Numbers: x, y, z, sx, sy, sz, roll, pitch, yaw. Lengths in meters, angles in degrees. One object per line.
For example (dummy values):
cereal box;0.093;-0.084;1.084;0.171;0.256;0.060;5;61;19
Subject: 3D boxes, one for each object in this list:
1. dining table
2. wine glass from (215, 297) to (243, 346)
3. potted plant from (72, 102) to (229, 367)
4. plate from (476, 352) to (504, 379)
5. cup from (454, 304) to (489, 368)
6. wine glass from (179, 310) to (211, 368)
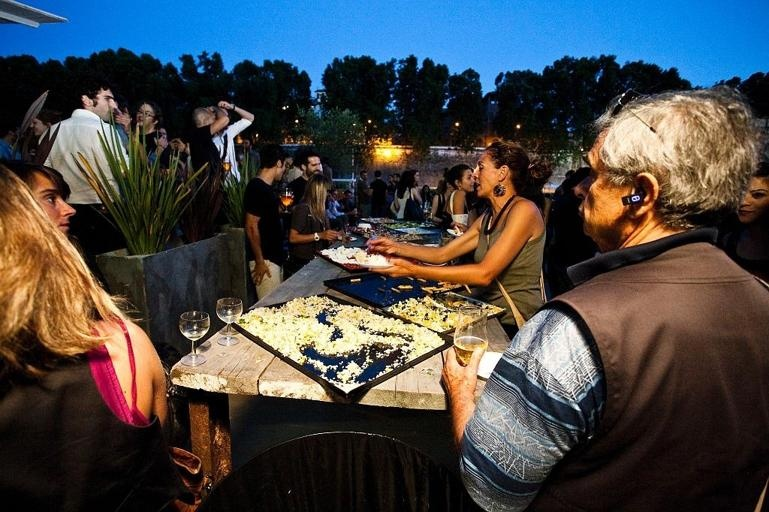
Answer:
dining table;-0.319;0.521;2.679;1.167;0.706;1.173;3;26;0
wine glass;-0.789;0.323;2.540;0.173;0.244;0.173;1;14;-20
potted plant;-1.712;-0.073;3.947;1.030;2.235;1.097;-1;11;-13
plate;0.445;0.466;2.165;0.167;0.043;0.184;2;10;20
cup;0.365;0.372;2.146;0.164;0.331;0.161;-1;9;0
wine glass;-0.940;0.403;2.465;0.204;0.232;0.205;1;4;-19
